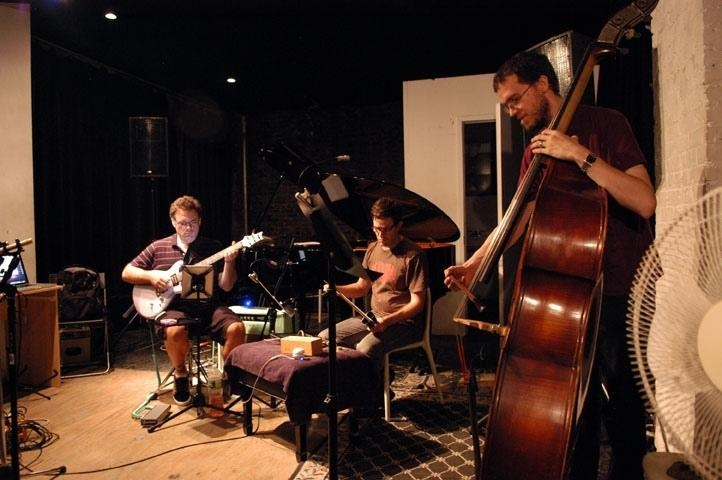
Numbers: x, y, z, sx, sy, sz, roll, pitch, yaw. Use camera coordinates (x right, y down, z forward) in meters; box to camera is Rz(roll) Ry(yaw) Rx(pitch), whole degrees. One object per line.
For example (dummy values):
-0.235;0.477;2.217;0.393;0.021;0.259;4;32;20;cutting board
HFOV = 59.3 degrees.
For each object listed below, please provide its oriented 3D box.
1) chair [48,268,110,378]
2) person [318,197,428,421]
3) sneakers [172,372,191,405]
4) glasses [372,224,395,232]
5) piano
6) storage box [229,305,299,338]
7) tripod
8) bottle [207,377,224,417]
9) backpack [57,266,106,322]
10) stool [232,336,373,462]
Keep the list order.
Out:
-2.846;0.859;6.543;0.720;1.318;1.007;-1;-5;-26;chair
0.111;0.533;5.249;0.953;1.659;0.810;-5;9;-18;person
-1.473;1.250;5.276;0.109;0.104;0.263;2;15;-24;sneakers
0.184;-0.092;5.166;0.169;0.069;0.100;0;2;39;glasses
-0.043;0.017;5.274;1.486;1.125;1.166;13;12;38;piano
-0.858;0.727;5.602;0.535;0.321;0.377;0;4;6;storage box
-1.373;0.845;5.284;0.826;1.283;0.683;-1;2;-11;tripod
-1.182;1.285;5.234;0.146;0.314;0.459;-1;2;-13;bottle
-2.751;0.554;6.285;0.449;0.573;0.562;2;-9;-26;backpack
-0.398;1.066;4.682;0.890;0.555;0.871;4;-5;-40;stool
